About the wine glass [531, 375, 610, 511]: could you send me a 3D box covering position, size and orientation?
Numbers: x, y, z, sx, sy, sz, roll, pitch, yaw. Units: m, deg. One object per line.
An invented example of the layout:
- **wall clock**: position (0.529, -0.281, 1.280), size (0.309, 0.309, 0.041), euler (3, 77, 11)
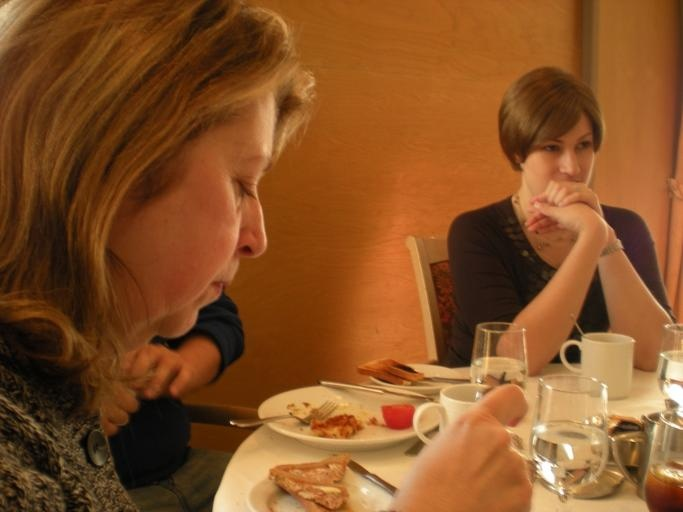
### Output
- **wine glass**: position (0.382, 0.319, 1.042), size (0.121, 0.199, 0.083), euler (-2, 2, 19)

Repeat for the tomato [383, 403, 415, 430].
- **tomato**: position (0.119, 0.335, 1.307), size (0.053, 0.032, 0.051), euler (-1, 0, 9)

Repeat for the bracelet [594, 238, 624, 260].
- **bracelet**: position (0.876, -0.025, 2.019), size (0.057, 0.033, 0.073), euler (-23, 0, 13)

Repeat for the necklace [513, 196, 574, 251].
- **necklace**: position (0.695, -0.106, 2.129), size (0.168, 0.189, 0.052), euler (5, 39, 28)

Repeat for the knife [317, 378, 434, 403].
- **knife**: position (0.089, 0.321, 1.482), size (0.355, 0.044, 0.028), euler (2, 5, 19)
